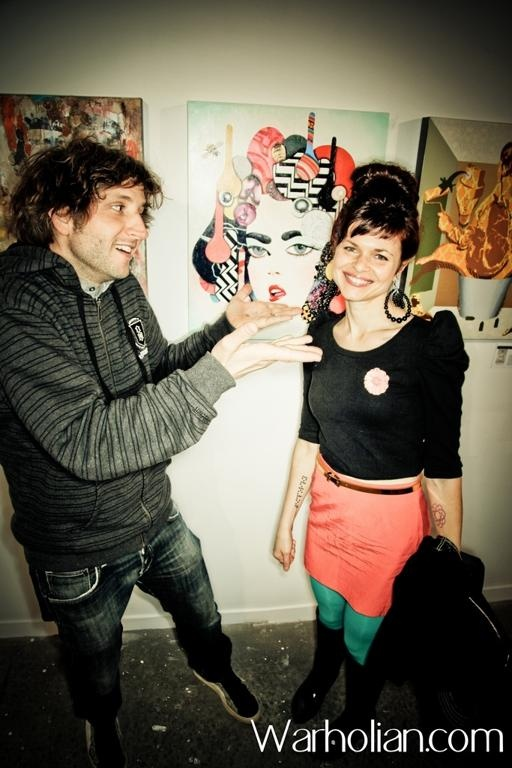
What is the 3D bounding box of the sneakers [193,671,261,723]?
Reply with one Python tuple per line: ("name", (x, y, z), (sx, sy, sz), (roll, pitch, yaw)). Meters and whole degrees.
("sneakers", (-0.106, 1.064, 2.022), (0.237, 0.096, 0.086), (38, 47, 21))
